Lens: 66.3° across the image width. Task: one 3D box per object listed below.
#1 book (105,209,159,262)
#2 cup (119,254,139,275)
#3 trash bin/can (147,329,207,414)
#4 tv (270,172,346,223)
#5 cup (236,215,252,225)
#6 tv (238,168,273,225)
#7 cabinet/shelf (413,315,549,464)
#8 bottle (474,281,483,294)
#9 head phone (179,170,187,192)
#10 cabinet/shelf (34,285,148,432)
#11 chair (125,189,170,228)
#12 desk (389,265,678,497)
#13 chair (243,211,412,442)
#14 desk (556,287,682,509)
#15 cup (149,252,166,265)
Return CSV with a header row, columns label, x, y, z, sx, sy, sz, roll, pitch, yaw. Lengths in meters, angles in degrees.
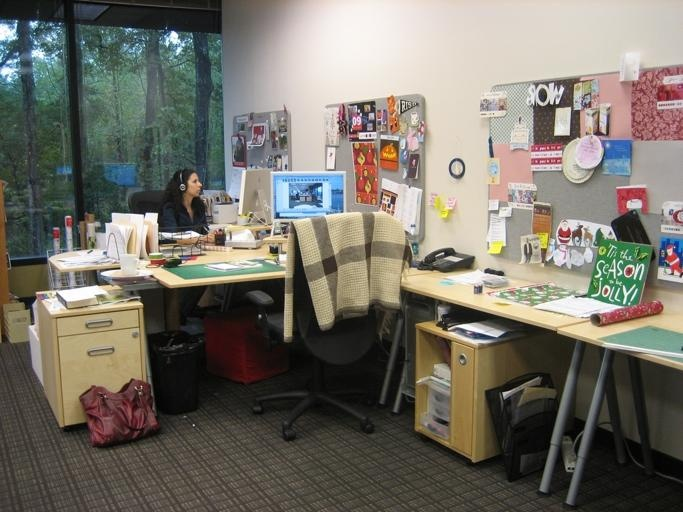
label,x,y,z,sx,sy,sz,roll,pitch,yaw
book,-1.552,-0.156,3.888,0.305,0.423,0.521,-2,5,-42
cup,-1.330,0.053,3.311,0.085,0.125,0.136,5,5,36
trash bin/can,-1.126,0.768,3.525,0.316,0.444,0.400,-5,13,-21
tv,-0.256,-0.479,4.131,0.491,0.354,0.021,0,13,0
cup,-0.974,-0.347,5.163,0.104,0.078,0.107,2,2,0
tv,-0.802,-0.547,4.889,0.182,0.495,0.477,10,12,29
cabinet/shelf,0.745,0.626,3.255,0.684,0.965,0.781,-2,5,-26
bottle,0.809,0.180,3.063,0.056,0.067,0.047,-3,8,-28
head phone,-1.464,-0.686,4.800,0.061,0.177,0.181,-2,5,-10
cabinet/shelf,-1.529,0.609,3.525,0.649,0.995,0.767,-4,5,-34
chair,-1.895,-0.466,5.075,0.362,0.536,0.428,-3,8,-32
desk,1.092,0.201,2.803,0.841,0.903,1.770,-3,7,-31
chair,-0.092,0.380,3.267,0.913,1.334,0.872,4,7,27
desk,1.436,0.727,2.638,0.945,0.666,0.488,-5,5,-40
cup,-1.310,0.018,3.680,0.086,0.069,0.089,3,7,0
